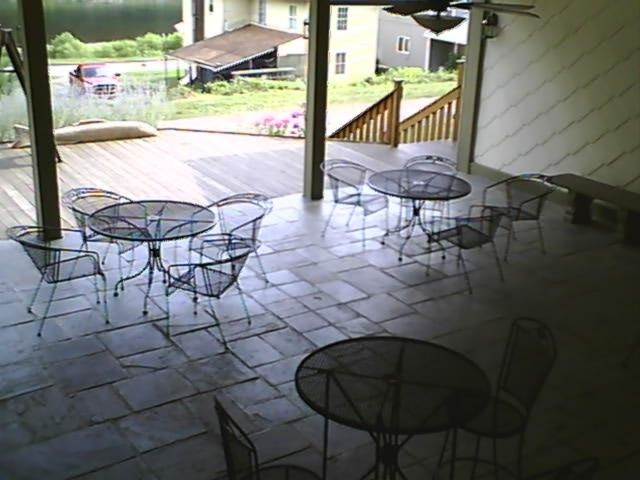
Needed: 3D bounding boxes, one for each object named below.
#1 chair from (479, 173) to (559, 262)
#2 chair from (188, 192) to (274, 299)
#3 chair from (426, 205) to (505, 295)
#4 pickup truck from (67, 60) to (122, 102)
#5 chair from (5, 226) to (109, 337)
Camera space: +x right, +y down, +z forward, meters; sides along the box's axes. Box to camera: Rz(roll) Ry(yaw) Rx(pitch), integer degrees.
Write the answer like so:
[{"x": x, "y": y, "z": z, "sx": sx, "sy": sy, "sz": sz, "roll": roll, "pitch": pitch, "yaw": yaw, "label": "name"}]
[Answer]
[{"x": 2.747, "y": -0.278, "z": 7.593, "sx": 1.034, "sy": 1.112, "sz": 0.919, "roll": -12, "pitch": 36, "yaw": -10, "label": "chair"}, {"x": -0.988, "y": 0.091, "z": 6.268, "sx": 0.977, "sy": 1.072, "sz": 0.905, "roll": -11, "pitch": 39, "yaw": -29, "label": "chair"}, {"x": 1.753, "y": 0.161, "z": 6.663, "sx": 0.876, "sy": 0.896, "sz": 0.721, "roll": -19, "pitch": 42, "yaw": -21, "label": "chair"}, {"x": -5.152, "y": -3.701, "z": 12.723, "sx": 0.965, "sy": 0.662, "sz": 1.573, "roll": -14, "pitch": 37, "yaw": -26, "label": "pickup truck"}, {"x": -2.759, "y": 0.467, "z": 5.818, "sx": 0.952, "sy": 0.900, "sz": 0.738, "roll": -12, "pitch": 37, "yaw": -30, "label": "chair"}]
